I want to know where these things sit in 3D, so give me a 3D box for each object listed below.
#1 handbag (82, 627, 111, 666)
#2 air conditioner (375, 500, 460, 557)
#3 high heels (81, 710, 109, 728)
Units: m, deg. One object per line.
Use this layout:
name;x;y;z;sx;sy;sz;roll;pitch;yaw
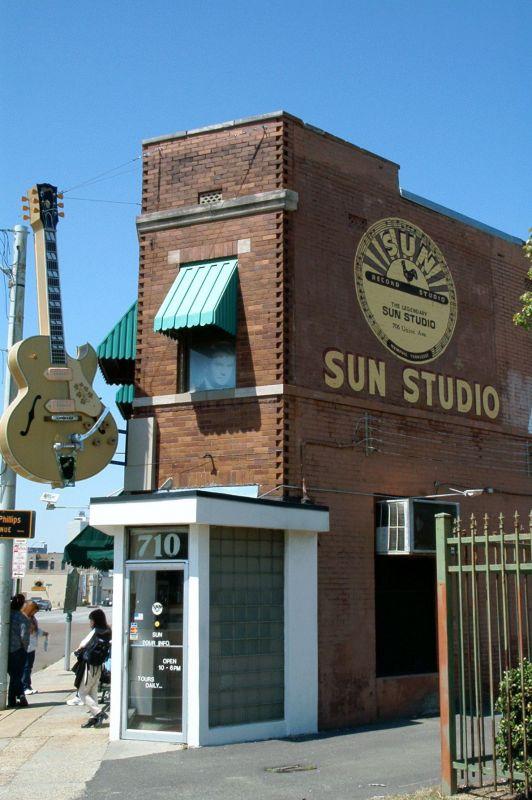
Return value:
handbag;-2.312;3.324;12.558;0.402;0.490;0.312;1;-11;-15
air conditioner;2.440;2.014;14.868;1.176;0.873;0.671;9;-11;-40
high heels;-2.354;4.258;12.486;0.466;0.213;0.163;-1;-9;-8
